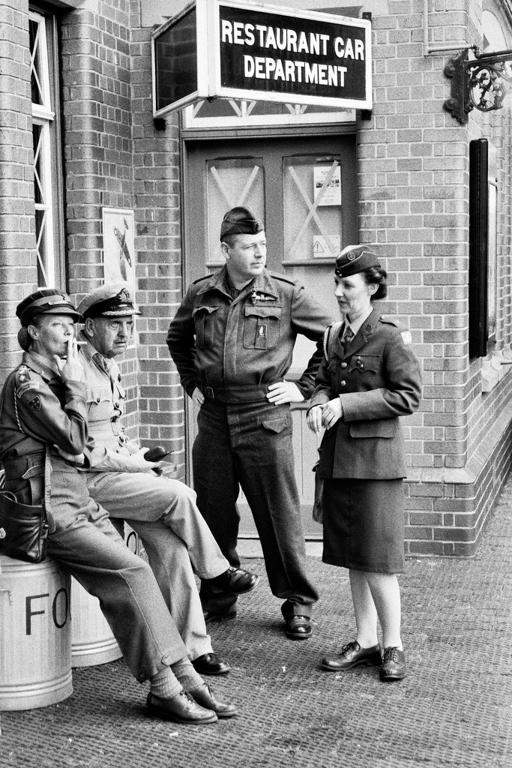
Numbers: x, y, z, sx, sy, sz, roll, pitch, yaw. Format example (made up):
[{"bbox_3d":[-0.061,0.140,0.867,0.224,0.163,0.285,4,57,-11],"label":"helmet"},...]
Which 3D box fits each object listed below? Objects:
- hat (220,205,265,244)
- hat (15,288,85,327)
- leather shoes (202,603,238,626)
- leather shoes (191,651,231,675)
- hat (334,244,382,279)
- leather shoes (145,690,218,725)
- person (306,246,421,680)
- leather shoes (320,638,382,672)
[{"bbox_3d":[-0.068,-0.724,6.382,0.128,0.112,0.177,-4,-4,-37],"label":"hat"},{"bbox_3d":[-0.834,-0.292,5.471,0.176,0.078,0.146,-19,-11,23],"label":"hat"},{"bbox_3d":[-0.171,1.099,6.739,0.170,0.092,0.073,7,-6,-37],"label":"leather shoes"},{"bbox_3d":[-0.193,1.189,5.942,0.187,0.094,0.078,1,8,26],"label":"leather shoes"},{"bbox_3d":[0.426,-0.516,5.903,0.189,0.128,0.211,-1,7,-5],"label":"hat"},{"bbox_3d":[-0.285,1.259,5.505,0.268,0.138,0.115,7,4,9],"label":"leather shoes"},{"bbox_3d":[0.458,0.317,5.966,0.459,1.797,0.454,1,6,6],"label":"person"},{"bbox_3d":[0.401,1.166,6.074,0.267,0.133,0.109,-2,-4,-20],"label":"leather shoes"}]
